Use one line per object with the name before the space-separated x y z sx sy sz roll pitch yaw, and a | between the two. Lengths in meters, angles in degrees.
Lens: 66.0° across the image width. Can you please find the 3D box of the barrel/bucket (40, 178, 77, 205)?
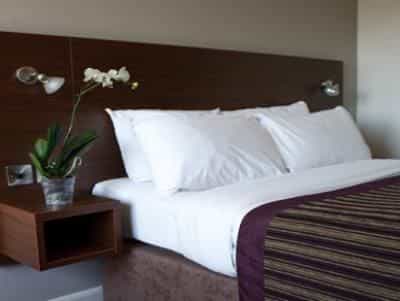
barrel/bucket | -0.768 0.206 1.678 0.158 0.124 0.169 -1 3 0

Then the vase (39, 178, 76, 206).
vase | -0.788 0.205 1.678 0.175 0.129 0.166 6 5 44

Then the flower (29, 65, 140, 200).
flower | -0.755 -0.141 1.896 0.403 0.765 0.741 -2 11 -12
